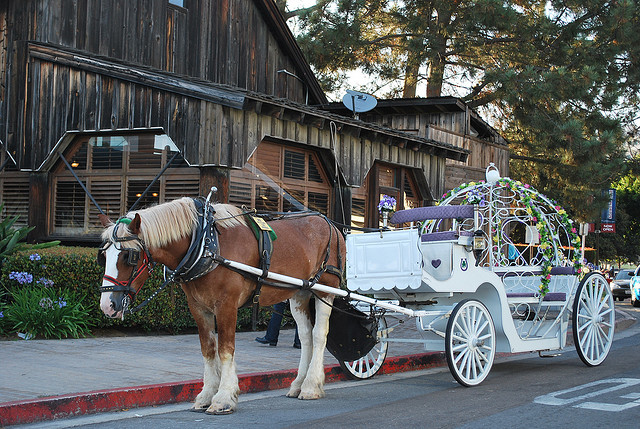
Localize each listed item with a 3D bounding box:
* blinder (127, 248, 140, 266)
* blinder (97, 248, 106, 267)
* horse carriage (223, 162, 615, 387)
[{"bbox_3d":[-3.070,0.704,13.584,0.196,0.387,0.270,-3,-7,41],"label":"blinder"},{"bbox_3d":[-3.628,0.706,13.728,0.160,0.214,0.228,-2,4,-2],"label":"blinder"},{"bbox_3d":[4.400,1.661,19.881,10.520,6.043,3.675,9,-12,-44],"label":"horse carriage"}]
